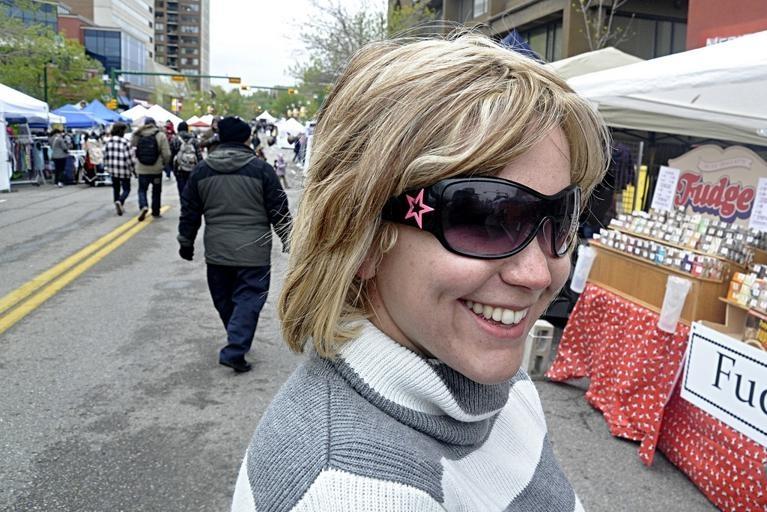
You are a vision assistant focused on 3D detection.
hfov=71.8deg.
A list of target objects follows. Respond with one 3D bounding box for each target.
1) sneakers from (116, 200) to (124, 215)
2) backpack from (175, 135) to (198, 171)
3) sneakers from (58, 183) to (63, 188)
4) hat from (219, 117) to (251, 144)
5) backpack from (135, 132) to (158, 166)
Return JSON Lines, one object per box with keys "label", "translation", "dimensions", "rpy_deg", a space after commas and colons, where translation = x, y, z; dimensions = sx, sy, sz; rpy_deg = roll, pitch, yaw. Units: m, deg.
{"label": "sneakers", "translation": [-6.853, -1.264, 13.887], "dimensions": [0.160, 0.386, 0.169], "rpy_deg": [3, 24, 1]}
{"label": "backpack", "translation": [-4.819, -2.567, 13.075], "dimensions": [0.472, 0.671, 0.712], "rpy_deg": [-8, 47, -31]}
{"label": "sneakers", "translation": [-12.428, -2.757, 20.566], "dimensions": [0.146, 0.169, 0.428], "rpy_deg": [0, 2, -28]}
{"label": "hat", "translation": [-1.530, -1.334, 5.598], "dimensions": [0.336, 0.282, 0.254], "rpy_deg": [-5, 18, -5]}
{"label": "backpack", "translation": [-5.437, -2.467, 12.528], "dimensions": [0.591, 0.787, 0.461], "rpy_deg": [2, -2, -2]}
